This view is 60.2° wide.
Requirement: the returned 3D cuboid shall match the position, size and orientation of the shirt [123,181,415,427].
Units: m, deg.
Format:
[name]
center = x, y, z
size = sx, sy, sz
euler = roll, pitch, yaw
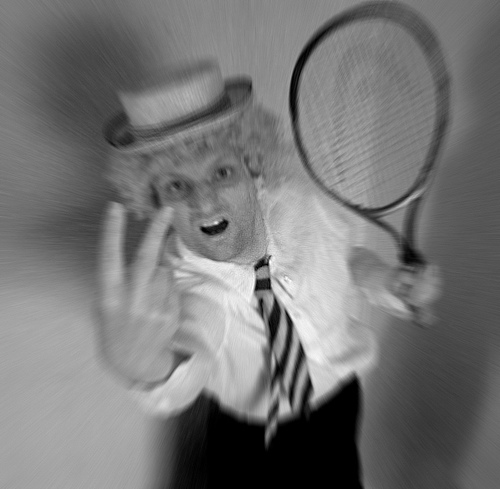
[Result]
[shirt]
center = 0.051, 0.116, 0.760
size = 0.451, 0.332, 0.134
euler = 19, 13, -15
